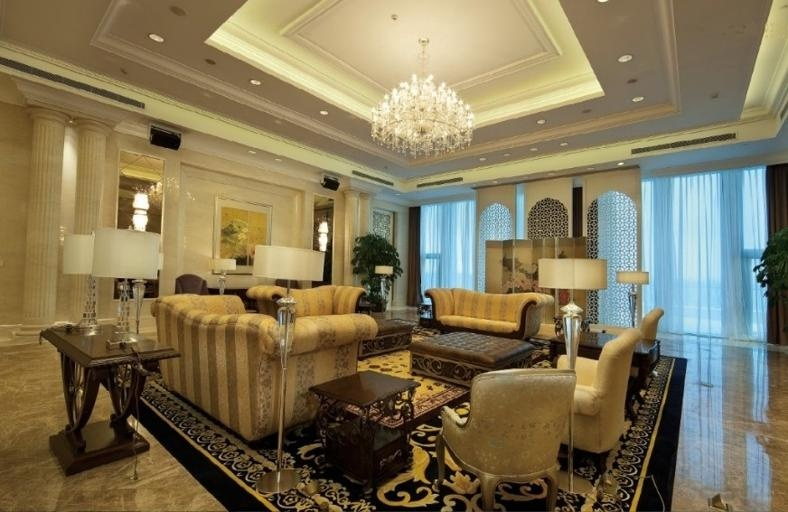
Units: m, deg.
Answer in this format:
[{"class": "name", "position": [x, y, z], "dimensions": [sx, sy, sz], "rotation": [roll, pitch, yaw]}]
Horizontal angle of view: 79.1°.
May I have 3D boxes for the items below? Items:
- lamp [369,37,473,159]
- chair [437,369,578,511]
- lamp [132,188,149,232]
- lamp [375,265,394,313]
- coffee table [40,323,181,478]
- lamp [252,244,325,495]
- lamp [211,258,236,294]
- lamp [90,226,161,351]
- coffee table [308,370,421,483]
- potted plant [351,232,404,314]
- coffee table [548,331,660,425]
[{"class": "lamp", "position": [0.430, -2.628, 8.339], "dimensions": [1.666, 1.789, 1.630], "rotation": [2, -3, -27]}, {"class": "chair", "position": [1.204, 1.800, 5.138], "dimensions": [1.264, 1.620, 1.388], "rotation": [2, -5, -13]}, {"class": "lamp", "position": [-4.544, -0.842, 8.592], "dimensions": [0.270, 0.706, 0.083], "rotation": [0, -2, -30]}, {"class": "lamp", "position": [-0.289, 0.758, 11.736], "dimensions": [0.507, 1.159, 0.499], "rotation": [4, 6, -2]}, {"class": "coffee table", "position": [-3.289, 1.564, 5.357], "dimensions": [1.558, 1.227, 0.941], "rotation": [5, 0, 35]}, {"class": "lamp", "position": [-1.121, 1.135, 5.110], "dimensions": [0.731, 2.514, 0.496], "rotation": [0, -2, -18]}, {"class": "lamp", "position": [-3.349, 0.411, 9.347], "dimensions": [0.509, 0.712, 0.479], "rotation": [9, -11, -44]}, {"class": "lamp", "position": [-2.851, 0.326, 5.081], "dimensions": [0.695, 1.227, 0.564], "rotation": [-2, -2, 41]}, {"class": "coffee table", "position": [-0.357, 1.728, 5.263], "dimensions": [0.988, 0.801, 1.036], "rotation": [-2, -2, 36]}, {"class": "potted plant", "position": [-0.544, 0.352, 11.789], "dimensions": [0.944, 1.512, 1.100], "rotation": [-2, -5, 35]}, {"class": "coffee table", "position": [2.926, 1.904, 6.678], "dimensions": [1.178, 0.764, 1.586], "rotation": [-2, -2, 35]}]
